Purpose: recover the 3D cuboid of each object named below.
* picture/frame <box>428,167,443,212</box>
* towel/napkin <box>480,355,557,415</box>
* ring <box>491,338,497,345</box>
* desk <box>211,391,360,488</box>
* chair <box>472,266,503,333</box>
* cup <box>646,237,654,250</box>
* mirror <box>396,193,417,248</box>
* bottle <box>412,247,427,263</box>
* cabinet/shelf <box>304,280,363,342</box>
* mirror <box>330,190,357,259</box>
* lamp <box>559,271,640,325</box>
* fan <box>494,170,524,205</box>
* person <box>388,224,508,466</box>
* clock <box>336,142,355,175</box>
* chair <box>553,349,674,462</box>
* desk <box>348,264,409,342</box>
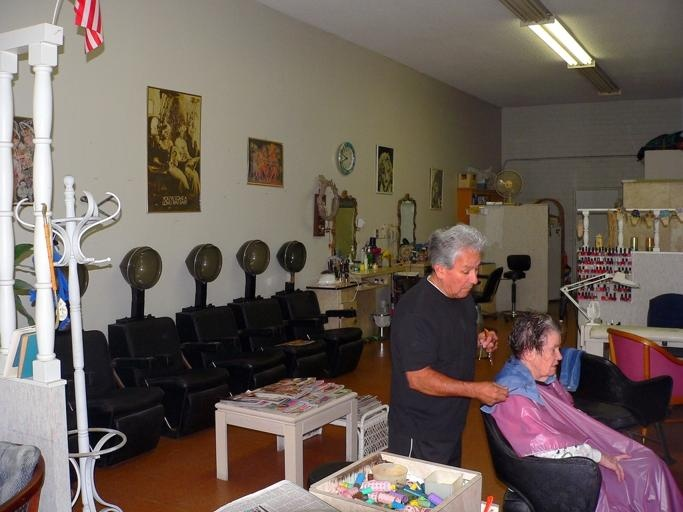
[{"bbox_3d":[1.854,-1.342,10.722,0.062,1.050,0.830,4,4,29],"label":"picture/frame"},{"bbox_3d":[0.958,0.668,2.937,0.286,0.098,0.294,-6,17,-30],"label":"towel/napkin"},{"bbox_3d":[0.915,0.505,3.232,0.010,0.037,0.035,7,-8,-15],"label":"ring"},{"bbox_3d":[-0.435,1.275,4.058,0.725,0.620,0.766,0,2,34],"label":"desk"},{"bbox_3d":[2.516,0.671,9.530,0.590,0.951,0.650,10,8,12],"label":"chair"},{"bbox_3d":[3.654,-0.153,6.403,0.080,0.137,0.504,4,7,29],"label":"cup"},{"bbox_3d":[1.168,-0.664,9.820,0.077,1.510,0.879,0,3,33],"label":"mirror"},{"bbox_3d":[1.405,-0.020,9.687,0.183,0.215,0.367,6,-9,3],"label":"bottle"},{"bbox_3d":[-0.018,0.807,7.654,0.480,0.670,0.701,-11,-3,13],"label":"cabinet/shelf"},{"bbox_3d":[0.062,-0.542,8.257,0.436,0.813,0.039,6,10,26],"label":"mirror"},{"bbox_3d":[2.729,0.444,5.694,0.756,0.619,0.173,0,13,41],"label":"lamp"},{"bbox_3d":[3.590,-1.498,11.587,0.556,0.825,0.355,0,25,21],"label":"fan"},{"bbox_3d":[0.549,0.488,2.842,0.591,1.305,0.475,1,6,5],"label":"person"},{"bbox_3d":[0.077,-1.470,8.181,0.094,0.499,0.519,3,7,26],"label":"clock"},{"bbox_3d":[1.974,1.145,4.049,0.544,0.727,0.590,-14,-4,29],"label":"chair"},{"bbox_3d":[0.525,0.645,8.217,0.750,1.091,1.098,0,3,24],"label":"desk"}]
